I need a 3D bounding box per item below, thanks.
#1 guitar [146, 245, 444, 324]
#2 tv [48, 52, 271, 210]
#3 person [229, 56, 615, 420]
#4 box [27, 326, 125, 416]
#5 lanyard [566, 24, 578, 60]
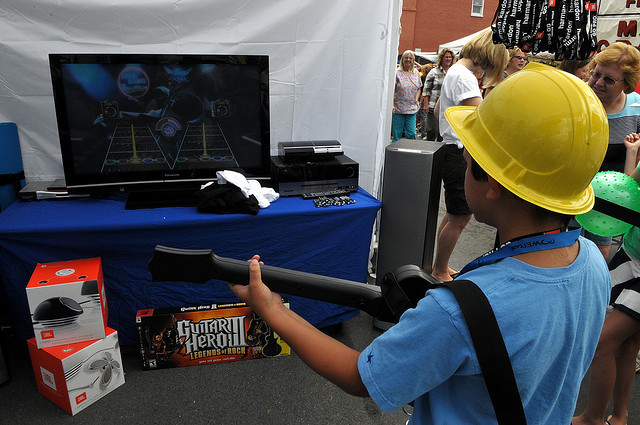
[{"bbox_3d":[-0.094,0.230,1.584,0.968,0.136,0.376,10,0,-7],"label":"guitar"},{"bbox_3d":[-1.080,-0.548,3.022,1.097,0.764,0.274,-2,10,-12],"label":"tv"},{"bbox_3d":[0.424,0.122,1.418,0.913,1.113,0.558,-11,19,-29],"label":"person"},{"bbox_3d":[-1.484,0.927,2.791,0.368,0.329,0.378,7,15,26],"label":"box"},{"bbox_3d":[2.121,-1.409,3.845,0.061,0.317,0.044,-2,22,-25],"label":"lanyard"}]
